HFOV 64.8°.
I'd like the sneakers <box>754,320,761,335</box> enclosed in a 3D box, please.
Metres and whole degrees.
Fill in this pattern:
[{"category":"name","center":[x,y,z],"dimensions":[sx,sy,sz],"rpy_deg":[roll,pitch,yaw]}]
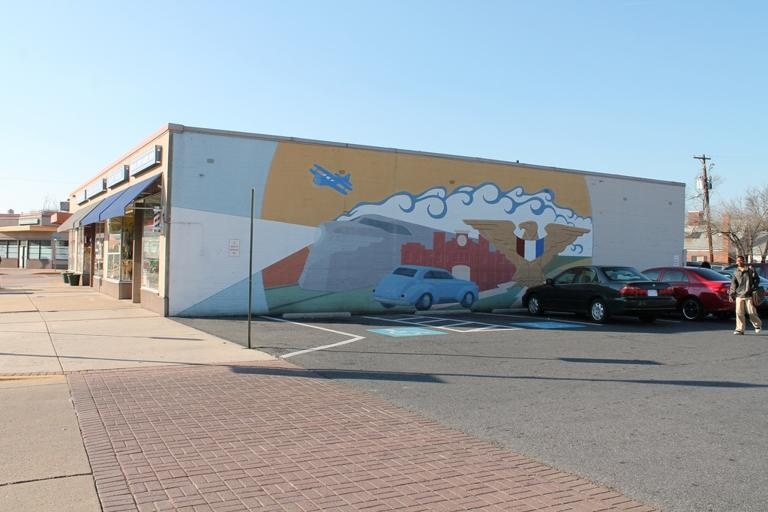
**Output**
[{"category":"sneakers","center":[10.364,2.012,16.797],"dimensions":[0.116,0.367,0.149],"rpy_deg":[-10,-49,49]}]

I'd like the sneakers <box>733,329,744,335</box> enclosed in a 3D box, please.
[{"category":"sneakers","center":[9.557,2.067,16.302],"dimensions":[0.213,0.129,0.225],"rpy_deg":[2,3,28]}]

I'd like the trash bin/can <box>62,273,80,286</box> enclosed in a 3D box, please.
[{"category":"trash bin/can","center":[-16.851,1.255,32.776],"dimensions":[0.940,0.529,0.926],"rpy_deg":[2,-4,-41]}]
